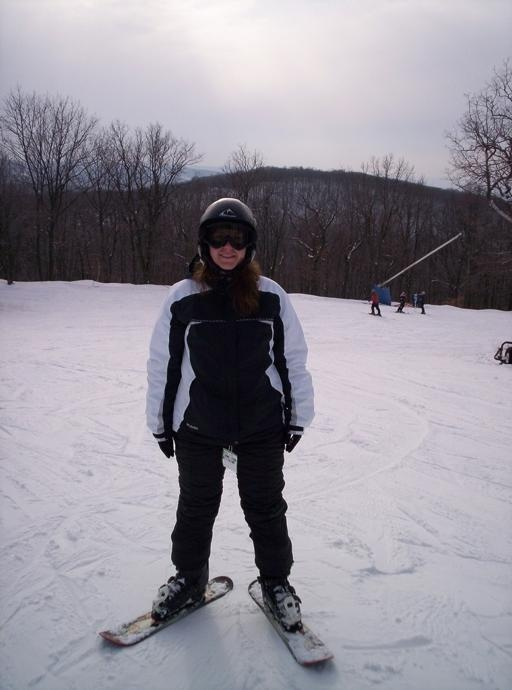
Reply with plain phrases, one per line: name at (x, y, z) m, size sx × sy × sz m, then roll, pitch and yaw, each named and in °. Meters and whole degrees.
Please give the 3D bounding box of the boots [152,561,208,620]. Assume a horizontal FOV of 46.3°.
boots at (-0.318, 1.161, 2.880) m, size 0.136 × 0.158 × 0.370 m, roll 5°, pitch 7°, yaw 40°

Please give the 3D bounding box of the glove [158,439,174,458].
glove at (-0.430, 0.496, 2.868) m, size 0.092 × 0.091 × 0.036 m, roll 2°, pitch 22°, yaw 8°

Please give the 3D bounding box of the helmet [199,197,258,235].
helmet at (-0.136, -0.611, 2.843) m, size 0.167 × 0.169 × 0.210 m, roll 1°, pitch 32°, yaw -3°

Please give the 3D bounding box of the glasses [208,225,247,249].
glasses at (-0.131, -0.499, 2.741) m, size 0.123 × 0.075 × 0.116 m, roll -1°, pitch 14°, yaw -1°

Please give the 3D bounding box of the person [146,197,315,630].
person at (-0.145, 0.309, 2.751) m, size 0.730 × 1.937 × 0.495 m, roll 2°, pitch 10°, yaw -4°

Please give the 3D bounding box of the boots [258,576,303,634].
boots at (0.109, 1.183, 2.765) m, size 0.104 × 0.129 × 0.288 m, roll 5°, pitch -1°, yaw -14°
